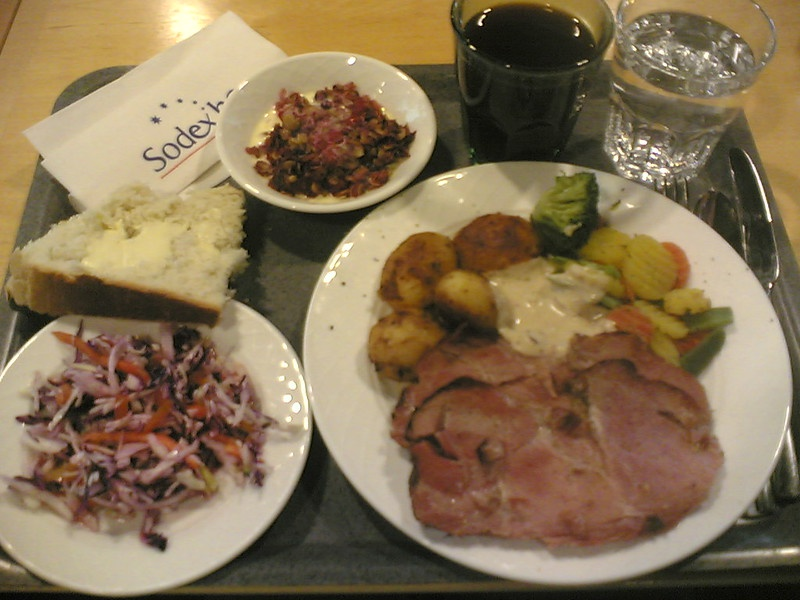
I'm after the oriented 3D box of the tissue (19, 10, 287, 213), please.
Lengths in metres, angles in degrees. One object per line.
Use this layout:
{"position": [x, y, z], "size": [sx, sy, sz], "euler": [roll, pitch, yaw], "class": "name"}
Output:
{"position": [-0.617, -0.459, 2.068], "size": [0.613, 0.141, 0.408], "euler": [-34, 75, -13], "class": "tissue"}
